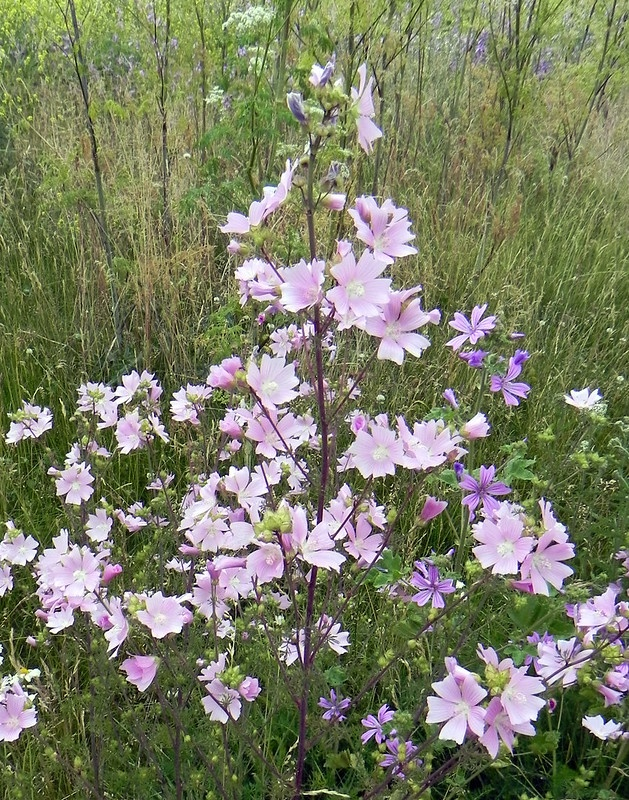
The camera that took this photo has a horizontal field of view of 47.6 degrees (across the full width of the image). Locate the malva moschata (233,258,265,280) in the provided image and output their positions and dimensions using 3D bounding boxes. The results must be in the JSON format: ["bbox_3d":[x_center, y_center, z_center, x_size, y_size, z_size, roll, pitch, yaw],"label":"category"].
[{"bbox_3d":[-0.178,-0.368,1.978,0.069,0.042,0.083,-15,37,41],"label":"malva moschata"}]

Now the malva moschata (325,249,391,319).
[{"bbox_3d":[0.092,-0.242,1.638,0.112,0.171,0.059,1,0,-18],"label":"malva moschata"}]

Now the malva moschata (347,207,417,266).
[{"bbox_3d":[0.151,-0.405,1.737,0.124,0.181,0.072,-6,9,-20],"label":"malva moschata"}]

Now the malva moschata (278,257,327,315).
[{"bbox_3d":[-0.028,-0.254,1.651,0.104,0.149,0.123,-4,30,-22],"label":"malva moschata"}]
